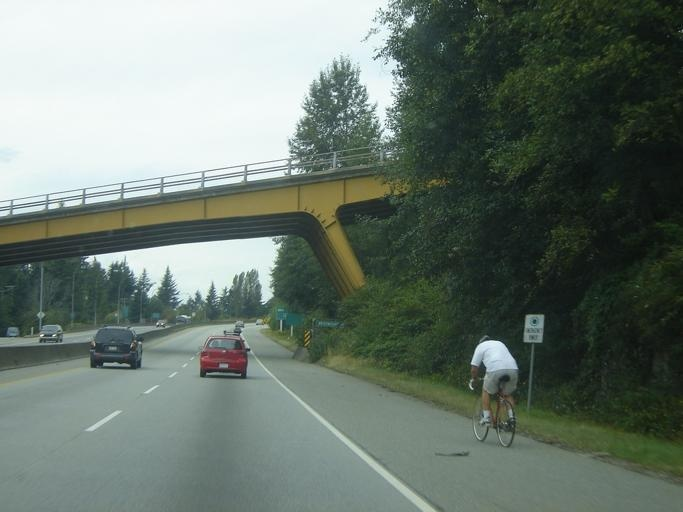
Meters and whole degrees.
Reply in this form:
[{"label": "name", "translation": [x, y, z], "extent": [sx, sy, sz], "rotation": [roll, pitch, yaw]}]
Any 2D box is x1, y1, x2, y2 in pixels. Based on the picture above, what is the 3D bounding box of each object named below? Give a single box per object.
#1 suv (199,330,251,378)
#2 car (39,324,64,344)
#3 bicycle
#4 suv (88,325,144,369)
[{"label": "suv", "translation": [-4.442, 3.748, 31.193], "extent": [1.235, 1.163, 2.179], "rotation": [1, 2, -4]}, {"label": "car", "translation": [-24.231, 6.396, 67.834], "extent": [1.603, 1.603, 3.125], "rotation": [2, -14, -16]}, {"label": "bicycle", "translation": [3.550, 3.553, 18.828], "extent": [0.929, 1.600, 1.757], "rotation": [0, -8, 7]}, {"label": "suv", "translation": [-9.595, 3.847, 34.269], "extent": [1.826, 1.690, 0.839], "rotation": [2, -7, -10]}]
